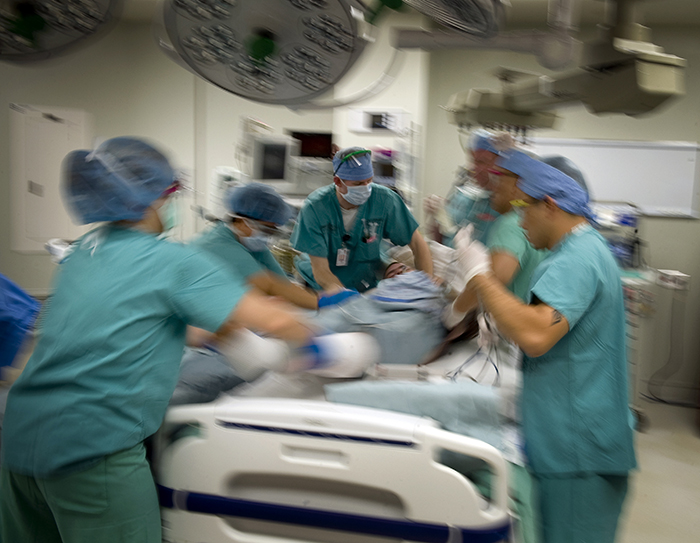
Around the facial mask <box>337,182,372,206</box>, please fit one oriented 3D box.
[{"bbox_3d":[0.016,-0.280,1.982,0.078,0.054,0.086,-13,38,-36],"label":"facial mask"}]

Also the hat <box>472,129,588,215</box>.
[{"bbox_3d":[0.406,-0.211,1.283,0.196,0.072,0.142,28,5,1],"label":"hat"}]

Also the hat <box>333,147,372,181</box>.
[{"bbox_3d":[0.006,-0.360,1.883,0.097,0.087,0.122,-5,7,-15],"label":"hat"}]

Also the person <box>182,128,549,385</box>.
[{"bbox_3d":[0.091,0.002,1.450,0.865,0.413,0.529,-25,36,-28],"label":"person"}]
